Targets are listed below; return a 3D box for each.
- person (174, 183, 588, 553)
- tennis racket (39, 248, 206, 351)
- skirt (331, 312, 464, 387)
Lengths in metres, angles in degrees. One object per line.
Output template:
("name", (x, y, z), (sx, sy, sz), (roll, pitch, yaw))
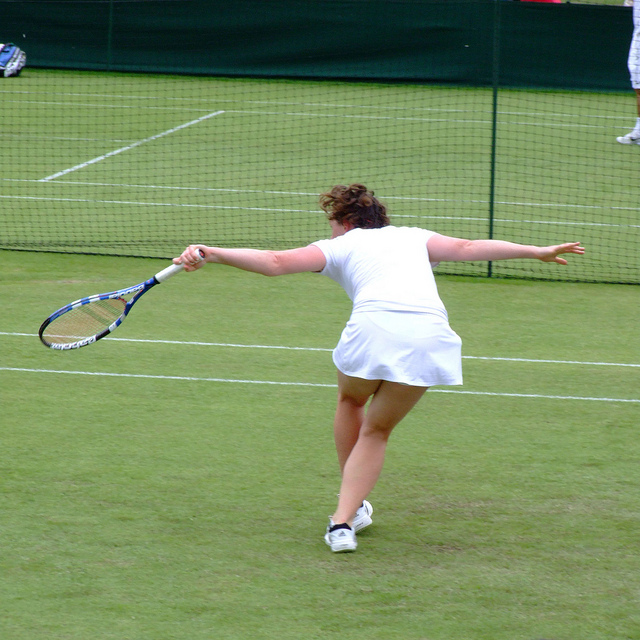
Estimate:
("person", (0.227, 0.222, 4.190), (1.384, 1.688, 0.594), (5, 10, 12))
("tennis racket", (-1.098, -0.065, 4.625), (0.616, 0.484, 0.924), (0, 7, -16))
("skirt", (0.341, 0.121, 3.926), (0.829, 0.304, 0.345), (0, 31, -1))
